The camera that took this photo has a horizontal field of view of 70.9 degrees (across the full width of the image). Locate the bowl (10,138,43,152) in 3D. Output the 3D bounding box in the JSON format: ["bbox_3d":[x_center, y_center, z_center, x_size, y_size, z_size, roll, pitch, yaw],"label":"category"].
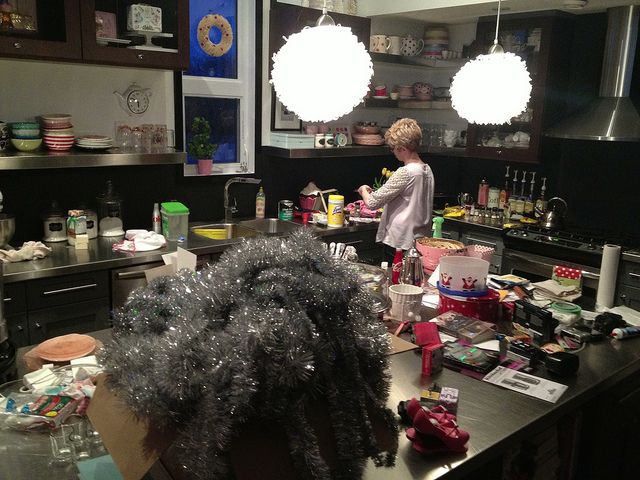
[{"bbox_3d":[-2.049,-0.663,3.136,0.166,0.093,0.115,-9,15,-37],"label":"bowl"}]

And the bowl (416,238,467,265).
[{"bbox_3d":[0.743,0.053,2.738,0.207,0.100,0.214,1,7,0],"label":"bowl"}]

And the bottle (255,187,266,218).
[{"bbox_3d":[-0.608,-0.380,4.557,0.115,0.301,0.222,-2,12,-8],"label":"bottle"}]

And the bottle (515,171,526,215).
[{"bbox_3d":[2.176,-0.512,4.850,0.104,0.445,0.243,5,13,25],"label":"bottle"}]

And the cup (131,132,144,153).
[{"bbox_3d":[-1.413,-0.756,3.472,0.100,0.147,0.070,-5,12,-21],"label":"cup"}]

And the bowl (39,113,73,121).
[{"bbox_3d":[-1.943,-0.907,3.305,0.215,0.069,0.314,-7,14,-28],"label":"bowl"}]

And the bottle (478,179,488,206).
[{"bbox_3d":[1.829,-0.529,5.021,0.093,0.265,0.219,4,12,20],"label":"bottle"}]

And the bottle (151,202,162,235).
[{"bbox_3d":[-1.373,-0.176,3.765,0.070,0.251,0.140,-5,12,-20],"label":"bottle"}]

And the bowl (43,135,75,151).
[{"bbox_3d":[-1.868,-0.695,3.211,0.194,0.110,0.094,-7,13,-28],"label":"bowl"}]

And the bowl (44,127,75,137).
[{"bbox_3d":[-1.859,-0.767,3.194,0.091,0.068,0.167,11,16,44],"label":"bowl"}]

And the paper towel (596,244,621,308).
[{"bbox_3d":[1.546,0.201,2.454,0.102,0.394,0.096,5,34,33],"label":"paper towel"}]

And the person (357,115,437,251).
[{"bbox_3d":[0.658,-0.480,3.902,0.580,1.121,0.449,8,15,36],"label":"person"}]

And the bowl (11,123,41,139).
[{"bbox_3d":[-2.033,-0.750,3.084,0.125,0.084,0.138,1,4,-1],"label":"bowl"}]

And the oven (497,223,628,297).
[{"bbox_3d":[2.225,0.148,4.218,0.516,0.501,0.973,-10,15,-39],"label":"oven"}]

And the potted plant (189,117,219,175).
[{"bbox_3d":[-1.075,-0.862,4.155,0.254,0.506,0.313,-3,12,-12],"label":"potted plant"}]

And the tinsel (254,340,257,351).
[{"bbox_3d":[-0.137,0.227,0.956,0.007,0.019,0.002,-7,13,-30],"label":"tinsel"}]

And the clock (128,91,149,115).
[{"bbox_3d":[-1.515,-1.145,3.719,0.060,0.206,0.204,9,6,38],"label":"clock"}]

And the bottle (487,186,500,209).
[{"bbox_3d":[1.873,-0.448,4.841,0.112,0.205,0.070,4,12,20],"label":"bottle"}]

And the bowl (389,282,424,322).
[{"bbox_3d":[0.423,0.318,2.182,0.159,0.152,0.195,-3,13,-22],"label":"bowl"}]

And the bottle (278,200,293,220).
[{"bbox_3d":[-0.360,-0.311,4.557,0.176,0.181,0.173,12,17,39],"label":"bottle"}]

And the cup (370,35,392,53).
[{"bbox_3d":[0.635,-2.120,4.867,0.295,0.197,0.117,-9,14,-35],"label":"cup"}]

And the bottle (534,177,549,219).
[{"bbox_3d":[2.334,-0.437,4.692,0.123,0.395,0.319,5,13,26],"label":"bottle"}]

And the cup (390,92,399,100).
[{"bbox_3d":[0.857,-1.651,5.166,0.090,0.070,0.091,-1,15,0],"label":"cup"}]
